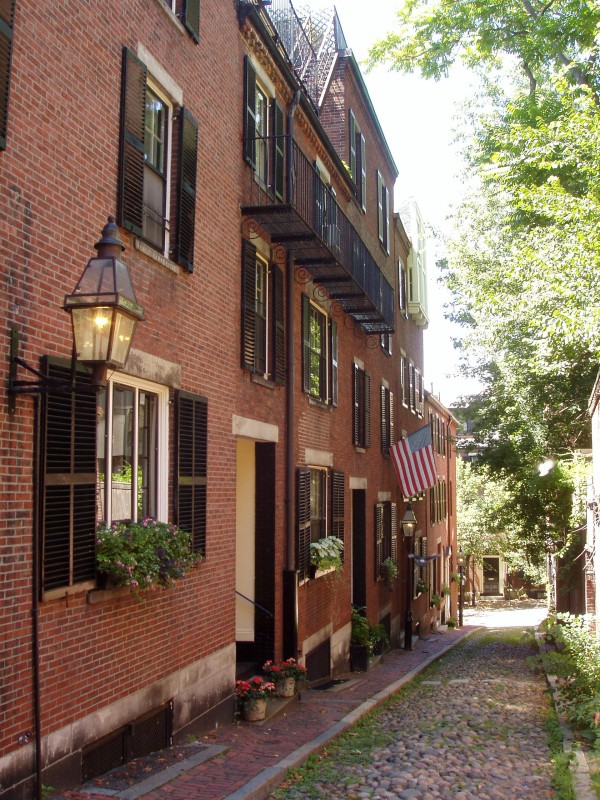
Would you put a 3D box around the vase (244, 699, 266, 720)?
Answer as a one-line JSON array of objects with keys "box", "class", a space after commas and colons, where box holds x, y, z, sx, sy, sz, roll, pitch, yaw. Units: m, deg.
[{"box": [-0.520, 3.704, 9.280, 0.158, 0.251, 0.337, -5, -15, 38], "class": "vase"}]

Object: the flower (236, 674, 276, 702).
[{"box": [-0.561, 3.581, 9.606, 0.382, 0.307, 0.447, -2, -2, 5], "class": "flower"}]

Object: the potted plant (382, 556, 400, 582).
[{"box": [2.470, 4.716, 21.090, 0.369, 0.725, 0.564, -3, 12, -9], "class": "potted plant"}]

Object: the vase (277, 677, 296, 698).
[{"box": [-0.175, 3.878, 10.444, 0.182, 0.215, 0.236, 3, -13, -12], "class": "vase"}]

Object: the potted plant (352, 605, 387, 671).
[{"box": [1.514, 5.427, 17.580, 0.666, 1.250, 2.339, 2, -13, 8], "class": "potted plant"}]
